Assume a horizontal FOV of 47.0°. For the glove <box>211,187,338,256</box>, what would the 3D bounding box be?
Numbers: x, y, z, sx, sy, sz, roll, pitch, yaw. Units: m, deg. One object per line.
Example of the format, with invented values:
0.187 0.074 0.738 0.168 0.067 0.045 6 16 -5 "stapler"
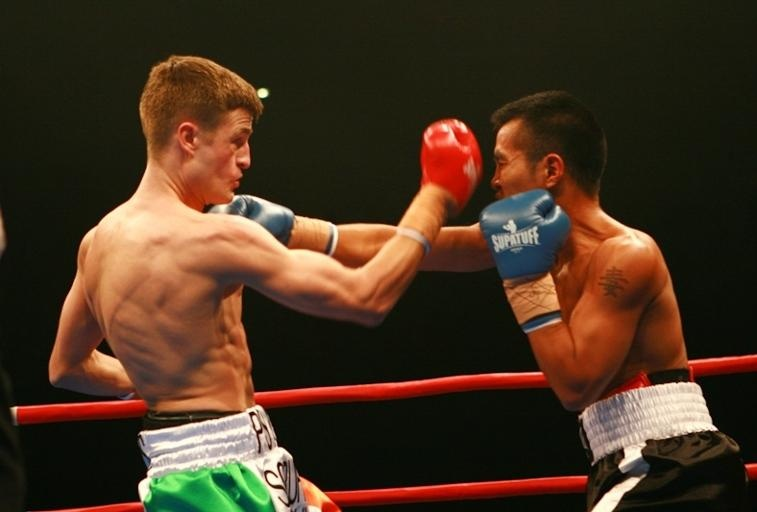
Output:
-0.484 -0.106 4.272 0.466 0.179 0.336 19 2 -23 "glove"
